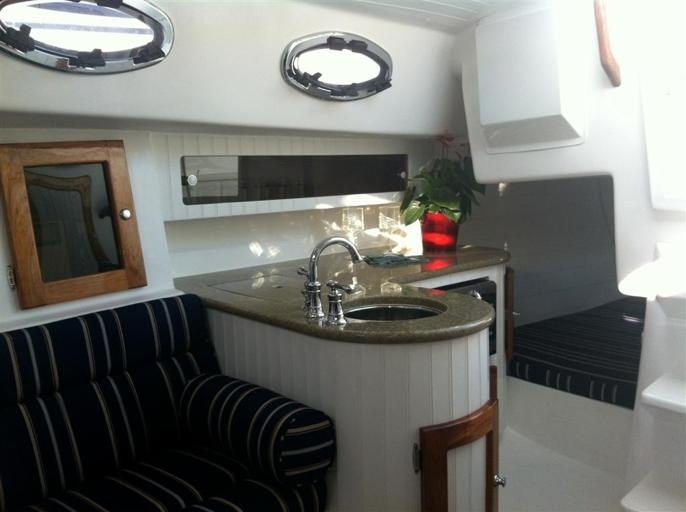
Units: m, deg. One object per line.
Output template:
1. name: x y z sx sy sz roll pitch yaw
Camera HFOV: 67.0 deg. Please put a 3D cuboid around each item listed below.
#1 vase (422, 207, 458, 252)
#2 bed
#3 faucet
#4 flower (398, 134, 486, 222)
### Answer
1. vase: 0.612 -0.163 3.300 0.245 0.243 0.226 1 9 23
2. bed: 1.437 0.533 3.235 0.724 0.391 1.125 7 15 30
3. faucet: -0.041 0.104 2.429 0.230 0.269 0.317 -13 20 -31
4. flower: 0.596 -0.466 3.436 0.599 0.544 0.568 0 -3 -45
